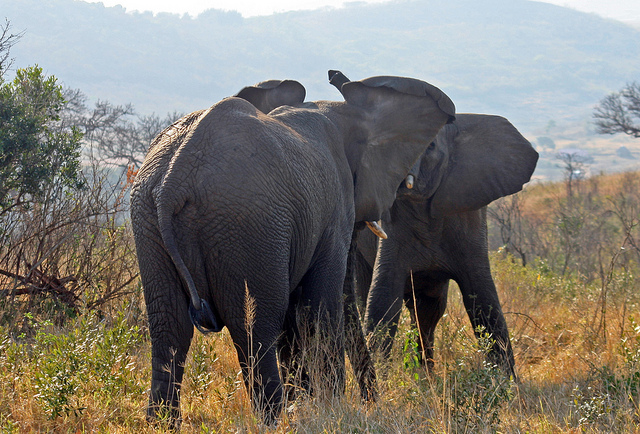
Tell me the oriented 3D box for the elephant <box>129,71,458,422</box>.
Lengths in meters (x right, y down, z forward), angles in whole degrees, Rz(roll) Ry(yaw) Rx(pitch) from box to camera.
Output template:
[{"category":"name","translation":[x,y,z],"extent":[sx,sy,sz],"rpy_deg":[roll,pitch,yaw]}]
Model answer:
[{"category":"elephant","translation":[-0.264,0.283,8.841],"extent":[2.393,3.929,4.812],"rpy_deg":[6,5,27]}]

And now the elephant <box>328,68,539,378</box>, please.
[{"category":"elephant","translation":[1.571,0.254,10.400],"extent":[2.674,3.566,4.781],"rpy_deg":[2,-6,30]}]
